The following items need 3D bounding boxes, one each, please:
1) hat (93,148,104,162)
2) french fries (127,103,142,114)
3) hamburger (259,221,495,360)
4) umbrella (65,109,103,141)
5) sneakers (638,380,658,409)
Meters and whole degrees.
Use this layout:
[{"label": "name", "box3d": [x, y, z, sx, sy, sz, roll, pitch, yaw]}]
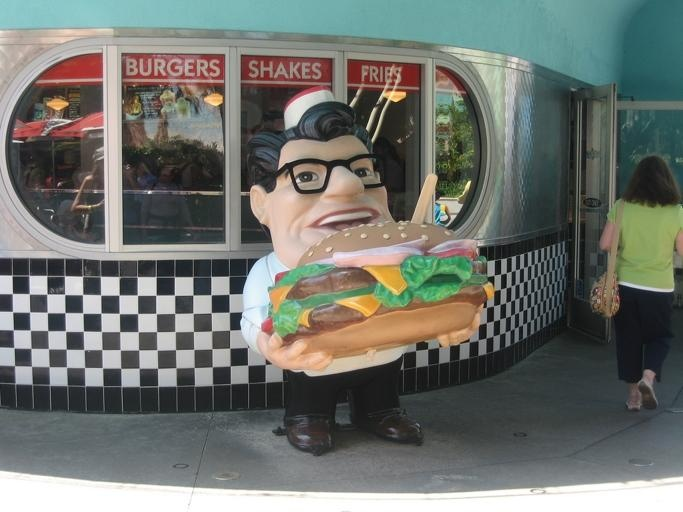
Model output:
[{"label": "hat", "box3d": [-1.600, -0.663, 4.885, 0.066, 0.072, 0.085, 0, -10, 15]}, {"label": "french fries", "box3d": [-1.350, -0.960, 4.862, 0.061, 0.073, 0.020, 6, 11, -8]}, {"label": "hamburger", "box3d": [0.242, 0.129, 4.255, 1.272, 0.659, 1.438, -6, 4, 26]}, {"label": "umbrella", "box3d": [-1.675, -0.846, 4.885, 0.238, 0.069, 0.144, -24, 1, 6]}, {"label": "sneakers", "box3d": [2.097, 0.953, 5.120, 0.111, 0.226, 0.106, -8, 29, 38]}]
